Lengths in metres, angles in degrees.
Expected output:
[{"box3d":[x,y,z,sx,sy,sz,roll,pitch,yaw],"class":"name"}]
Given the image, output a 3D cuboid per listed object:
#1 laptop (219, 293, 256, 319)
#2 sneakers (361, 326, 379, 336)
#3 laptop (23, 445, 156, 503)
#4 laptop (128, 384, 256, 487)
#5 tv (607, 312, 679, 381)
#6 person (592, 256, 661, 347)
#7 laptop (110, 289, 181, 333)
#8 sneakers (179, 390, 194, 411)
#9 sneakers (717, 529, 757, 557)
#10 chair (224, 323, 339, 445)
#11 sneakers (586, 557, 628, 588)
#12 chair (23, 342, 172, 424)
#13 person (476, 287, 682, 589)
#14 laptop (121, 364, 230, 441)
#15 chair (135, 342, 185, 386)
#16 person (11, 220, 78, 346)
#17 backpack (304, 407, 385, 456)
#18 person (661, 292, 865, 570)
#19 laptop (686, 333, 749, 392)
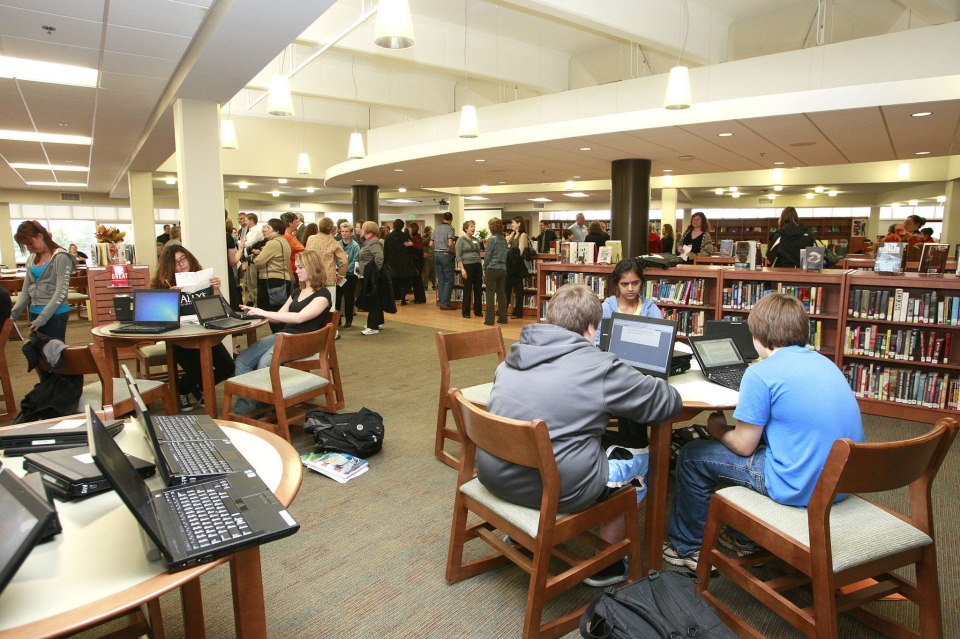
[{"box3d":[-2.287,-0.090,5.653,0.330,0.260,0.357,-9,0,7],"class":"laptop"},{"box3d":[-1.645,0.161,8.935,0.263,0.087,0.254,-2,9,-9],"class":"sneakers"},{"box3d":[-1.783,0.673,2.679,0.360,0.085,0.343,17,5,40],"class":"laptop"},{"box3d":[-1.352,0.601,2.809,0.399,0.279,0.758,-5,18,-34],"class":"laptop"},{"box3d":[0.984,0.135,3.684,0.356,0.344,0.500,2,13,-43],"class":"tv"},{"box3d":[1.145,-0.064,4.687,0.612,0.751,0.568,8,-10,4],"class":"person"},{"box3d":[-2.828,-0.080,5.145,0.501,0.350,0.376,0,-2,-9],"class":"laptop"},{"box3d":[-2.740,0.752,5.586,0.121,0.205,0.125,-19,34,-40],"class":"sneakers"},{"box3d":[1.531,1.333,3.577,0.115,0.118,0.293,-4,-2,-9],"class":"sneakers"},{"box3d":[-1.539,0.519,4.724,0.622,0.898,0.596,22,24,21],"class":"chair"},{"box3d":[0.732,1.438,3.393,0.253,0.098,0.136,-9,23,-20],"class":"sneakers"},{"box3d":[-2.727,0.446,4.295,0.428,0.754,0.523,11,24,14],"class":"chair"},{"box3d":[0.592,0.680,3.510,1.130,1.595,1.142,1,6,22],"class":"person"},{"box3d":[-1.492,0.495,2.942,0.374,0.302,0.547,-2,7,-34],"class":"laptop"},{"box3d":[-2.910,0.394,5.457,0.260,0.468,0.279,-4,39,-34],"class":"chair"},{"box3d":[-4.112,-0.337,5.643,0.513,1.154,0.978,-7,10,-34],"class":"person"},{"box3d":[-1.063,0.862,4.694,0.456,0.208,0.390,3,12,-5],"class":"backpack"},{"box3d":[1.667,0.698,3.462,0.739,1.600,1.045,-2,6,-28],"class":"person"},{"box3d":[1.537,0.264,3.833,0.349,0.211,0.317,-4,27,-22],"class":"laptop"}]
